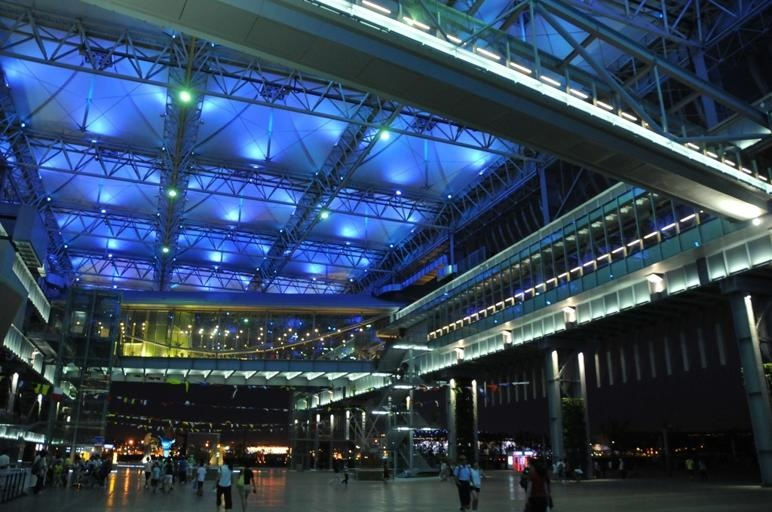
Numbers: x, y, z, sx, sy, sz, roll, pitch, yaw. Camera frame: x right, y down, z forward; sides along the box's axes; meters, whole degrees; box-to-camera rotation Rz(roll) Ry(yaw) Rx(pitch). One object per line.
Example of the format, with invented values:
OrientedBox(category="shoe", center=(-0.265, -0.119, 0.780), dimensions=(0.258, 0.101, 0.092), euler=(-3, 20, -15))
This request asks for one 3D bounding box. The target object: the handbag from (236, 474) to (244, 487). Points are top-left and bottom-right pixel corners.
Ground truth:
OrientedBox(category="handbag", center=(-6.240, 9.637, 26.459), dimensions=(0.336, 0.498, 0.118), euler=(-23, -34, 38))
